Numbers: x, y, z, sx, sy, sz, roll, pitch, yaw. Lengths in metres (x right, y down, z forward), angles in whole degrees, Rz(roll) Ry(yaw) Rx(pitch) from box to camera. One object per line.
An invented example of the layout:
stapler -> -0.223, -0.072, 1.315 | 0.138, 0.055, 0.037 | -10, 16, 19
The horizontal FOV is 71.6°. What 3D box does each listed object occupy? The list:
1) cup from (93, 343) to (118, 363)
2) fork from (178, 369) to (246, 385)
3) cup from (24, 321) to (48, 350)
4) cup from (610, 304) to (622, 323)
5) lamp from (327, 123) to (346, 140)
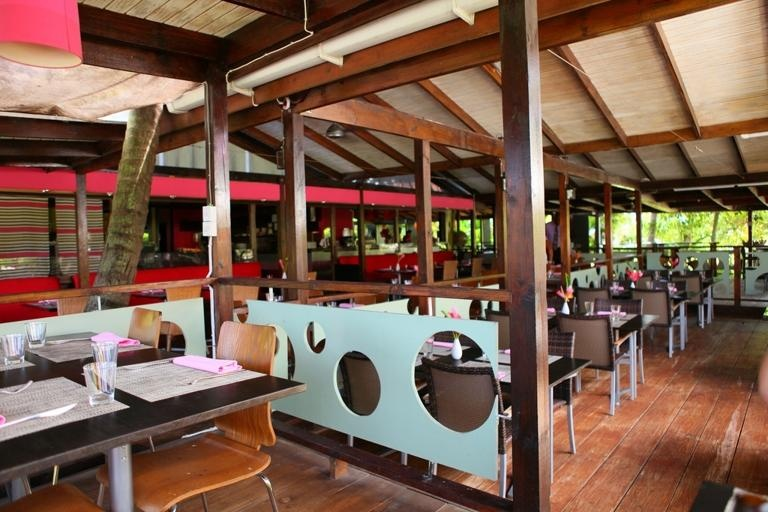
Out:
cup -> -1.393, 0.484, 2.669 | 0.122, 0.101, 0.109 | 1, -1, 16
fork -> -0.945, 0.651, 2.946 | 0.366, 0.038, 0.064 | -1, 4, -42
cup -> -2.282, 0.534, 3.517 | 0.179, 0.182, 0.166 | -1, -7, 0
cup -> 2.476, 0.623, 5.677 | 0.140, 0.188, 0.216 | -1, -8, 19
lamp -> -0.725, -1.891, 8.256 | 0.382, 0.181, 0.358 | -1, 1, 7
